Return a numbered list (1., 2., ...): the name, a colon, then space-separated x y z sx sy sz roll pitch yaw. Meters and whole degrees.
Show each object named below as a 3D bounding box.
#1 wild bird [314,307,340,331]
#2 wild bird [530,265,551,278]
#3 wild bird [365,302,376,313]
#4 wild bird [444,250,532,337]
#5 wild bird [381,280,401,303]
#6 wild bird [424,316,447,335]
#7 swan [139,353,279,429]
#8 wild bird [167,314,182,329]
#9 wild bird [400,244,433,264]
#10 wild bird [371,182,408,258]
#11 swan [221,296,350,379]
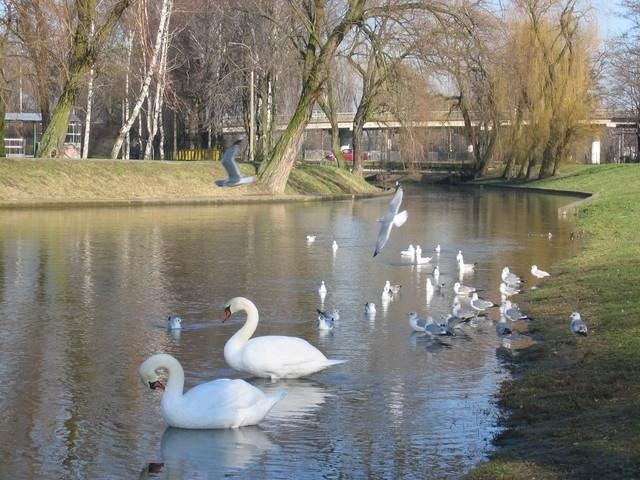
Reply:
1. wild bird: 0.101 1.843 27.153 0.299 0.419 0.579 4 -6 17
2. wild bird: 5.904 0.856 31.517 0.453 0.348 0.263 3 3 14
3. wild bird: 1.194 1.610 28.055 0.163 0.214 0.249 4 -4 -15
4. wild bird: 4.023 1.480 28.768 2.348 1.638 0.903 -1 -3 23
5. wild bird: 1.735 1.283 29.477 0.388 0.347 0.747 3 2 17
6. wild bird: 2.615 1.965 26.548 0.292 0.423 0.520 3 -1 -45
7. swan: -2.293 3.022 23.772 2.682 1.745 1.319 1 -3 -10
8. wild bird: -3.349 1.861 26.739 0.240 0.256 0.327 6 12 -16
9. wild bird: 2.772 0.420 34.506 0.385 0.793 1.143 1 7 29
10. wild bird: 1.467 -0.480 26.625 0.976 2.528 1.020 3 7 12
11. swan: -0.841 2.165 25.035 2.779 2.200 1.473 -4 -13 16
